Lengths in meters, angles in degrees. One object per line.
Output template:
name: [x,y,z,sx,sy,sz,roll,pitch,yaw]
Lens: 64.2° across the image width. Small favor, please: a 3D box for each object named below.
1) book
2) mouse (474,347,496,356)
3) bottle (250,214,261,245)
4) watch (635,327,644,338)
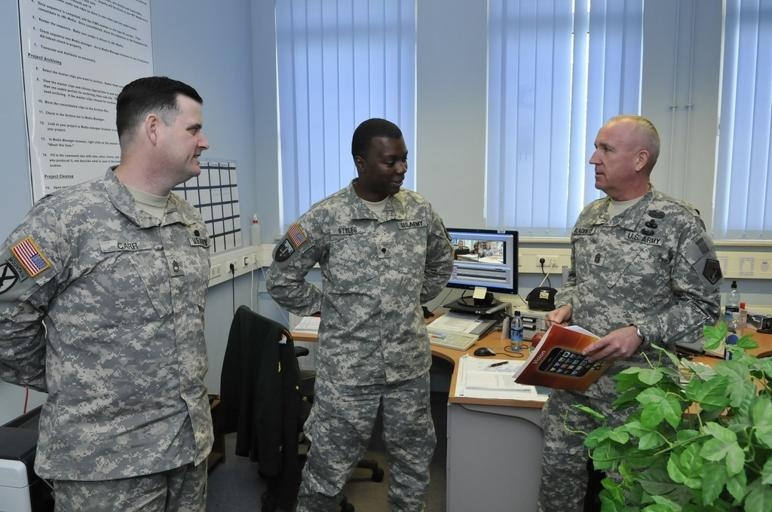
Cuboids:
book: [0.755,0.454,2.538,0.304,0.042,0.401,5,29,36]
mouse: [0.532,0.512,3.331,0.069,0.026,0.053,-3,7,15]
bottle: [-0.961,-0.201,4.562,0.059,0.219,0.133,1,5,1]
watch: [1.040,0.312,2.530,0.008,0.033,0.033,-28,19,10]
